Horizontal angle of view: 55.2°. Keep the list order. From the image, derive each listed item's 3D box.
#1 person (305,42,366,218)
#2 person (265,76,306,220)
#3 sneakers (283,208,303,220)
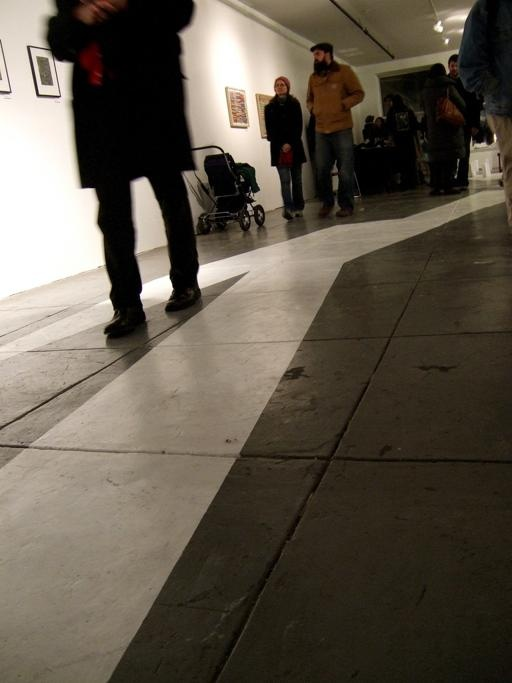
[{"bbox_3d":[0.955,-2.470,5.735,0.624,1.964,0.814,-15,15,-18],"label":"person"},{"bbox_3d":[0.424,-2.571,6.508,0.500,1.869,0.831,-9,14,8],"label":"person"},{"bbox_3d":[0.490,-1.672,6.462,0.121,0.158,0.373,-6,-1,17],"label":"sneakers"}]
